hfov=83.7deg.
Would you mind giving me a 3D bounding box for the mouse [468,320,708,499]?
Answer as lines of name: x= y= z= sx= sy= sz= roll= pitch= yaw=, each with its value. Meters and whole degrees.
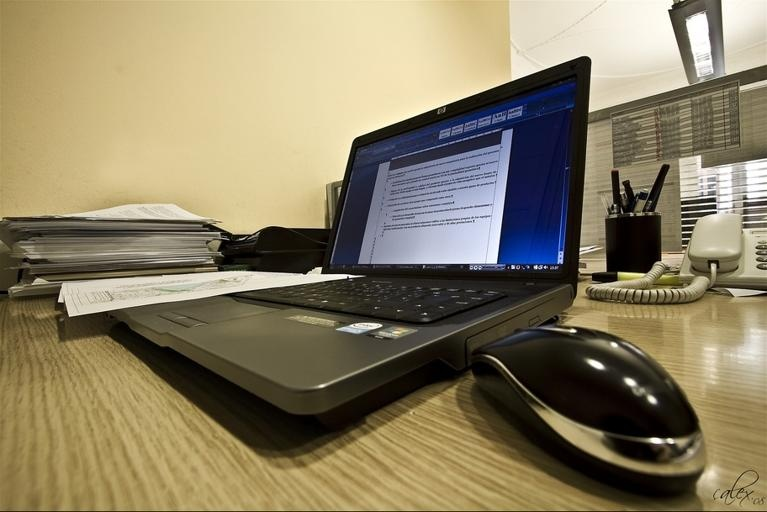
mouse: x=0.171 y=0.124 z=0.396 sx=0.112 sy=0.051 sz=0.165 roll=-1 pitch=14 yaw=-37
